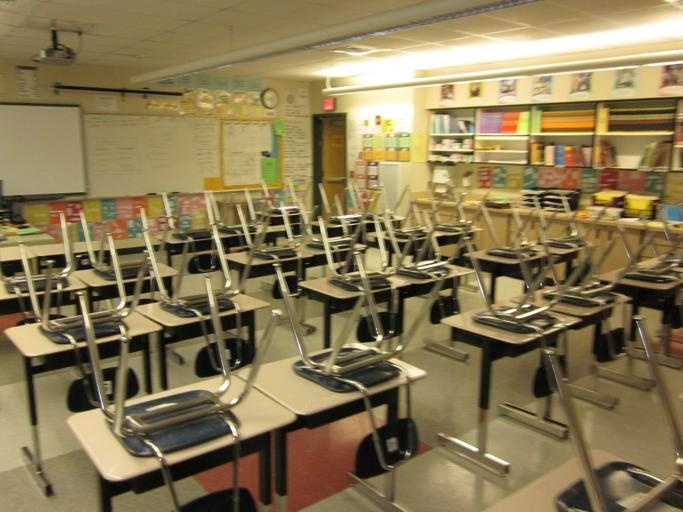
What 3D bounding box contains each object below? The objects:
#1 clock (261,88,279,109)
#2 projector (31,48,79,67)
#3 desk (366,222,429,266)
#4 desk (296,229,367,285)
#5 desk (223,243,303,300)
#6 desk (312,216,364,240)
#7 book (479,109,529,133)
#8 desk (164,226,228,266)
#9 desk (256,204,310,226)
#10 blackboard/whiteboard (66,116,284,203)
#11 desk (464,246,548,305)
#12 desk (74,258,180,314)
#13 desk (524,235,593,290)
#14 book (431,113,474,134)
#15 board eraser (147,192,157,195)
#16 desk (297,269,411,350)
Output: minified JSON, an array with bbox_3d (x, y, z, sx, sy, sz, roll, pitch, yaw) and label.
[{"bbox_3d":[-1.398,-3.042,10.402,0.082,0.388,0.422,6,19,36],"label":"clock"},{"bbox_3d":[-2.888,-1.940,5.340,0.458,0.098,0.270,2,10,8],"label":"projector"},{"bbox_3d":[0.617,-0.146,5.822,0.785,0.332,0.495,-12,25,-33],"label":"desk"},{"bbox_3d":[-0.096,-0.004,5.258,0.560,0.524,0.693,-9,15,-20],"label":"desk"},{"bbox_3d":[-0.667,0.095,5.118,0.918,0.432,0.676,-8,14,-38],"label":"desk"},{"bbox_3d":[-0.041,-0.366,6.716,0.528,0.208,0.488,-9,13,-37],"label":"desk"},{"bbox_3d":[2.482,-2.059,8.307,0.681,0.145,0.505,-9,12,-44],"label":"book"},{"bbox_3d":[-1.528,-0.098,5.629,0.624,0.281,0.324,-10,20,-38],"label":"desk"},{"bbox_3d":[-0.848,-0.601,7.705,0.683,0.276,0.654,-11,16,-41],"label":"desk"},{"bbox_3d":[-2.986,-1.664,9.246,3.504,0.805,0.049,-6,17,-33],"label":"blackboard/whiteboard"},{"bbox_3d":[1.560,0.184,5.149,0.967,0.302,0.484,-9,15,-39],"label":"desk"},{"bbox_3d":[-1.846,0.229,4.640,1.000,0.511,0.674,-2,-11,-22],"label":"desk"},{"bbox_3d":[2.009,0.056,5.023,0.833,0.376,0.418,-12,24,-29],"label":"desk"},{"bbox_3d":[1.886,-2.224,9.031,0.613,0.190,0.221,9,16,42],"label":"book"},{"bbox_3d":[-3.257,-1.063,9.223,0.173,0.067,0.017,-14,18,-39],"label":"board eraser"},{"bbox_3d":[0.322,0.370,4.440,1.013,0.579,0.782,-8,14,-31],"label":"desk"}]
